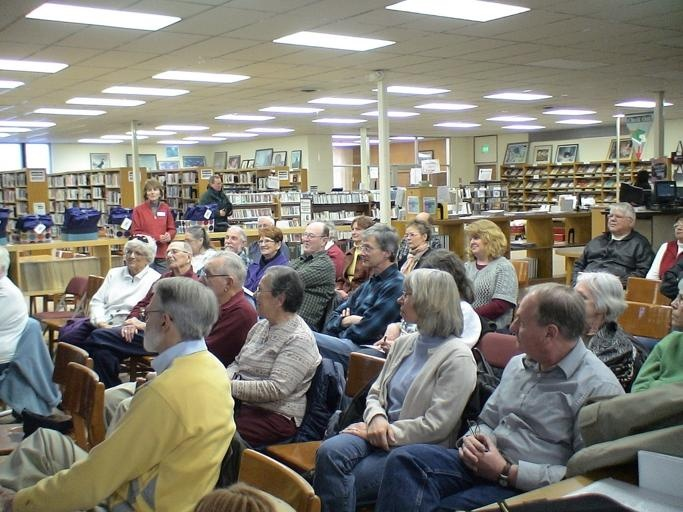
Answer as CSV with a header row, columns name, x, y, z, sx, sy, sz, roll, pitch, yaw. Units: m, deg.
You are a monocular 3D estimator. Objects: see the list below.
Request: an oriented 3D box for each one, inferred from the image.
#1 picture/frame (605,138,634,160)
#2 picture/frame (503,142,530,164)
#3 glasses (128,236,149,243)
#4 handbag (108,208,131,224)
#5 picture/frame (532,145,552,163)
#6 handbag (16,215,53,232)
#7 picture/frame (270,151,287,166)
name,x,y,z,sx,sy,sz,roll,pitch,yaw
picture/frame,8.151,-3.144,15.431,0.496,0.741,1.234,0,3,18
picture/frame,6.075,-3.563,18.156,0.063,0.735,0.893,13,1,-44
glasses,-2.134,-0.187,5.584,0.153,0.059,0.221,3,3,12
handbag,-3.472,-0.647,8.389,0.379,0.296,0.346,-1,0,-36
picture/frame,6.715,-3.400,17.546,0.062,0.744,0.743,11,0,-41
handbag,-4.481,-0.493,7.569,0.370,0.125,0.359,-4,9,-41
picture/frame,-2.116,-3.293,17.813,0.077,0.653,1.056,2,0,-38
